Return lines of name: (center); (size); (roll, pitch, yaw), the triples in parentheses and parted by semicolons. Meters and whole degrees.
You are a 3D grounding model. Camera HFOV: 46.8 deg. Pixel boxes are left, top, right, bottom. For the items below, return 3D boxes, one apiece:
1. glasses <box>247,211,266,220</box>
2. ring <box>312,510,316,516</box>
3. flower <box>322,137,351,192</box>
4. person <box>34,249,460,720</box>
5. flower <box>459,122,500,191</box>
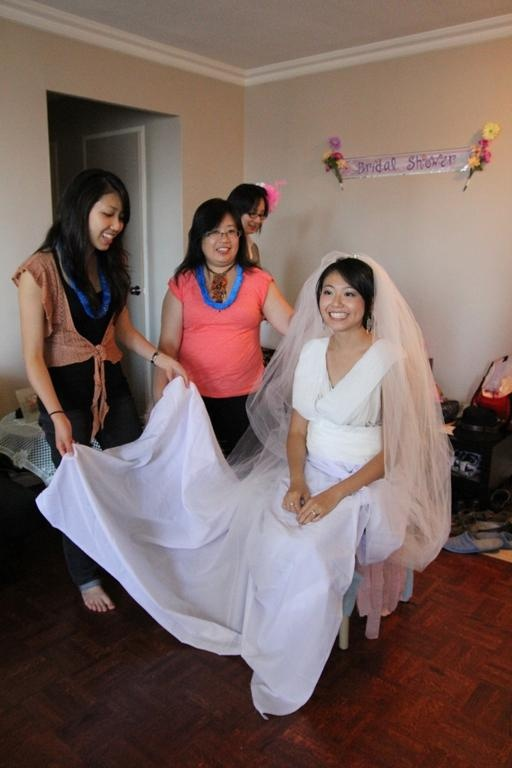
glasses: (0.004, -0.763, 2.716); (0.053, 0.015, 0.052); (4, 11, 39)
ring: (0.156, 0.354, 1.611); (0.010, 0.009, 0.010); (-3, -4, 0)
flower: (0.489, -1.378, 3.649); (0.165, 0.249, 0.163); (-1, 14, 40)
person: (0.052, 0.207, 1.861); (1.014, 1.222, 0.781); (5, 10, 27)
flower: (1.198, -1.224, 3.158); (0.175, 0.318, 0.295); (3, 9, 16)
